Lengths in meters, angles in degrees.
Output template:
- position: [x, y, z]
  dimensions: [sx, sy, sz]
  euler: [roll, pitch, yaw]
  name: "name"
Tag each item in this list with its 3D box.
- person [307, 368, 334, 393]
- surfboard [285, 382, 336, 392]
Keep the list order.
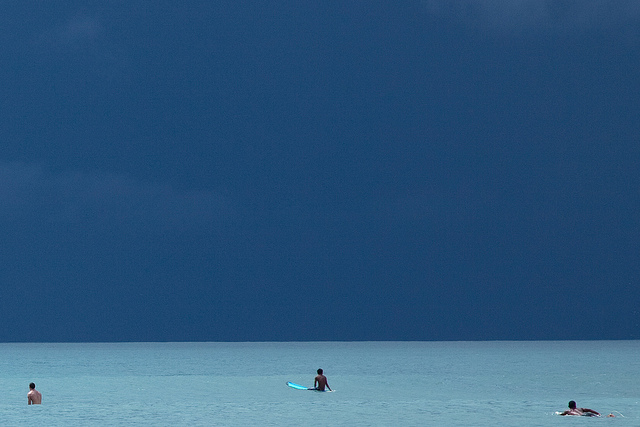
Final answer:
- position: [-0.060, 4.501, 39.711]
  dimensions: [0.965, 0.857, 0.559]
  euler: [1, 1, -7]
  name: "person"
- position: [-0.313, 4.685, 39.888]
  dimensions: [1.166, 0.109, 0.154]
  euler: [7, -37, 42]
  name: "surfboard"
